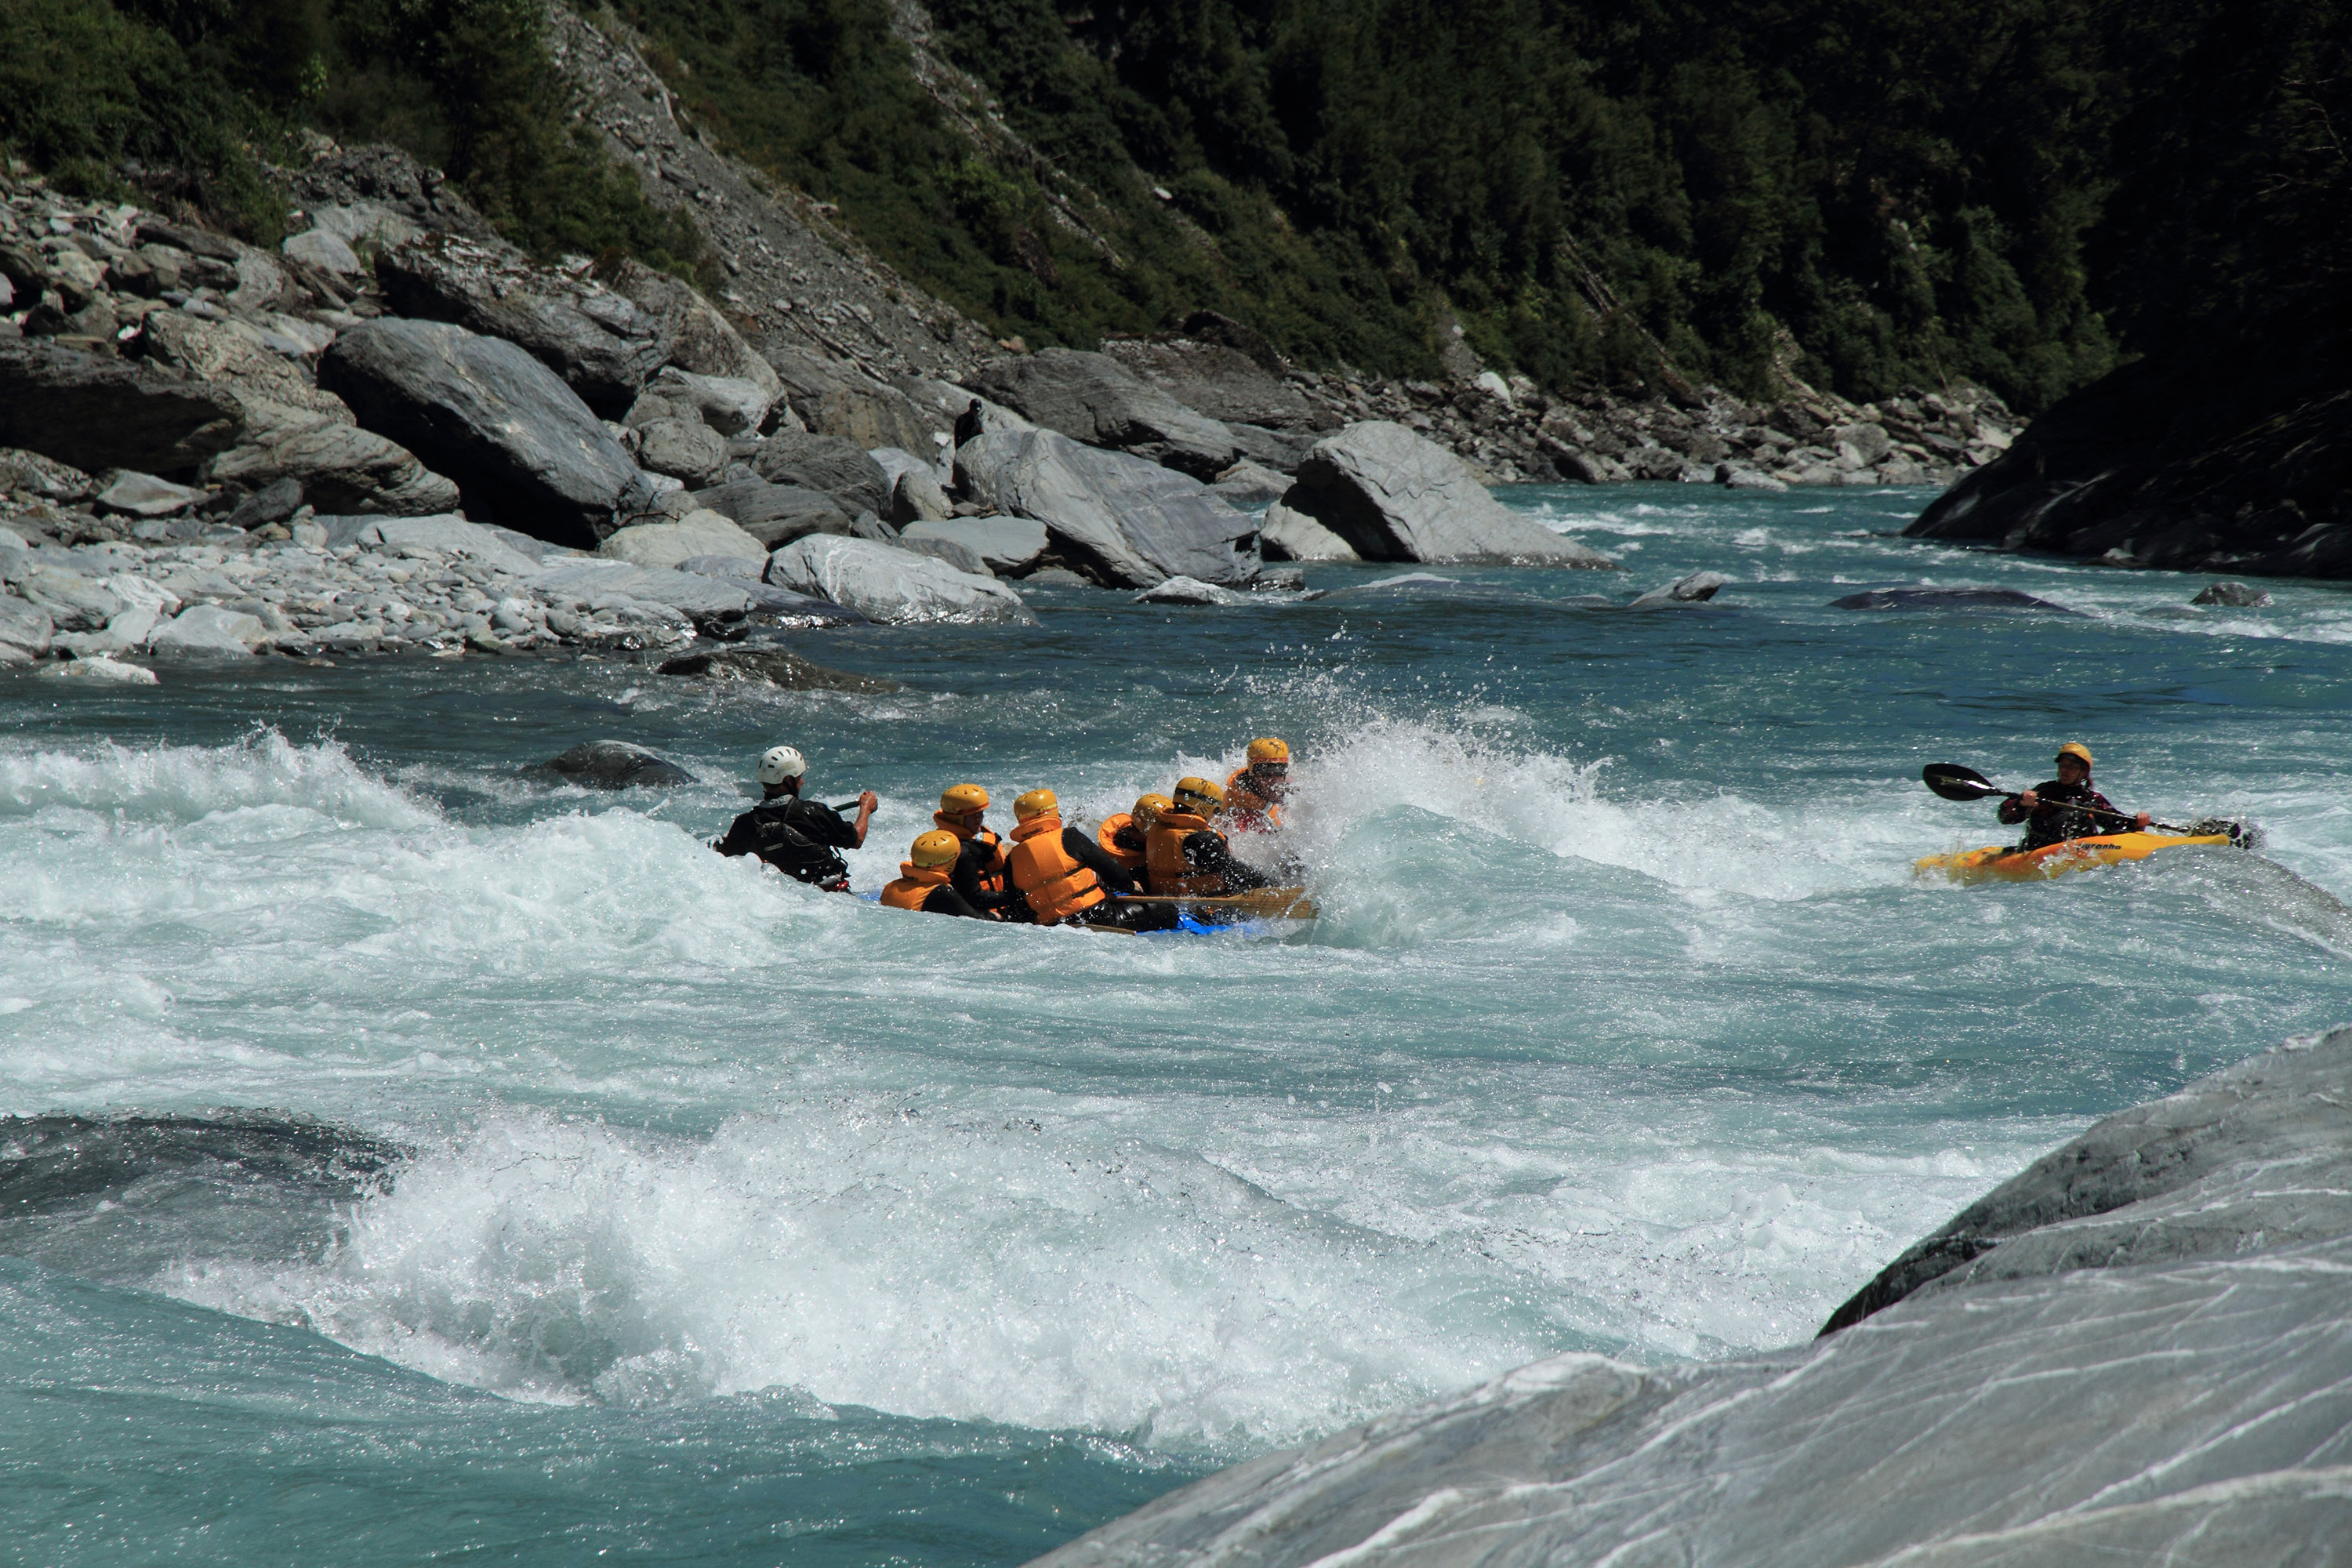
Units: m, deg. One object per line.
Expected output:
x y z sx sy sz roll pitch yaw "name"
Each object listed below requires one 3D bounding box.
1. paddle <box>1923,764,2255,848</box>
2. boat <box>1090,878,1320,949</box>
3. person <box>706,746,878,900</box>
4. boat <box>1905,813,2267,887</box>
7.054 0.188 17.632 2.115 0.394 0.476 6 -38 8 "paddle"
0.258 0.858 15.031 1.542 0.187 0.409 -4 -3 -7 "boat"
-2.432 0.224 15.149 0.974 1.092 0.462 15 39 8 "person"
6.491 0.482 16.218 2.197 0.179 0.322 -7 -5 0 "boat"
